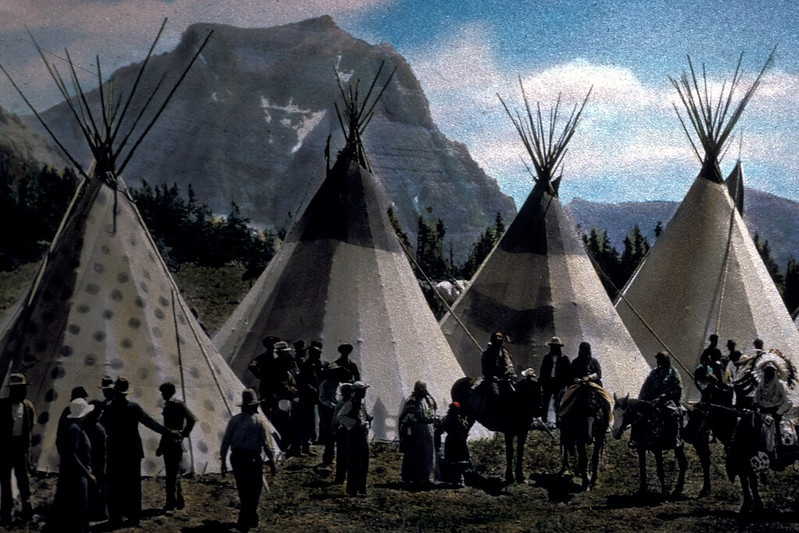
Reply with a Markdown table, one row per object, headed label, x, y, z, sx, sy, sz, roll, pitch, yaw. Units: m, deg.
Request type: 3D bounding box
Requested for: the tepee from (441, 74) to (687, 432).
| label | x | y | z | sx | sy | sz | roll | pitch | yaw |
| --- | --- | --- | --- | --- | --- | --- | --- | --- | --- |
| tepee | 4.800 | -0.193 | 24.089 | 8.888 | 7.830 | 8.290 | 3 | -3 | -15 |
